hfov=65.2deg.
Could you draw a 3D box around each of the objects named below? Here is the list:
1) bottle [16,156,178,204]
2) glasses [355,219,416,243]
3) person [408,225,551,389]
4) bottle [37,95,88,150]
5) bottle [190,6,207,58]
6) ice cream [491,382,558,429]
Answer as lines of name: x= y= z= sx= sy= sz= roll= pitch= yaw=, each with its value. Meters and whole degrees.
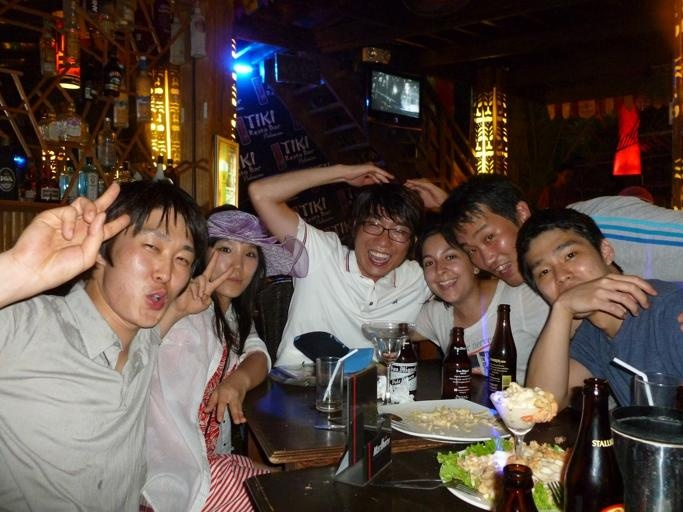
bottle: x=-2.206 y=-0.658 z=4.594 sx=0.897 sy=0.330 sz=0.201 roll=-4 pitch=-1 yaw=-37
glasses: x=0.315 y=-0.175 z=3.827 sx=0.362 sy=0.169 sz=0.085 roll=0 pitch=1 yaw=4
person: x=0.876 y=0.298 z=3.308 sx=0.916 sy=1.224 sz=0.365 roll=3 pitch=14 yaw=44
bottle: x=-2.754 y=-1.290 z=5.278 sx=0.426 sy=0.431 sz=0.158 roll=0 pitch=2 yaw=-30
bottle: x=-1.505 y=-2.350 z=5.579 sx=0.129 sy=0.558 sz=0.142 roll=-1 pitch=2 yaw=-39
ice cream: x=0.672 y=0.529 z=1.953 sx=0.185 sy=0.080 sz=0.190 roll=-4 pitch=0 yaw=9
